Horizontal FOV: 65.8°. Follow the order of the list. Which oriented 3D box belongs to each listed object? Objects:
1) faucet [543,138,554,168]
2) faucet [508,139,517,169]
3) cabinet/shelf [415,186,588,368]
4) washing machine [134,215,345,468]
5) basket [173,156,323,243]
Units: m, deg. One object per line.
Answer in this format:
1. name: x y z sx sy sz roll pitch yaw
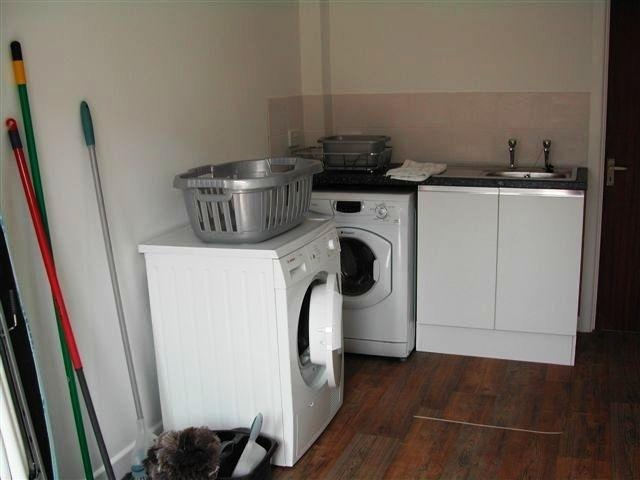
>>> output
1. faucet: 1.524 -0.575 3.309 0.076 0.190 0.187 2 17 24
2. faucet: 1.317 -0.600 3.394 0.058 0.196 0.142 1 16 21
3. cabinet/shelf: 1.212 0.176 3.368 0.990 1.105 0.753 3 11 26
4. washing machine: -0.171 0.368 2.801 1.071 1.326 0.915 3 15 15
5. basket: -0.303 -0.213 2.439 0.610 0.335 0.647 -3 15 8
